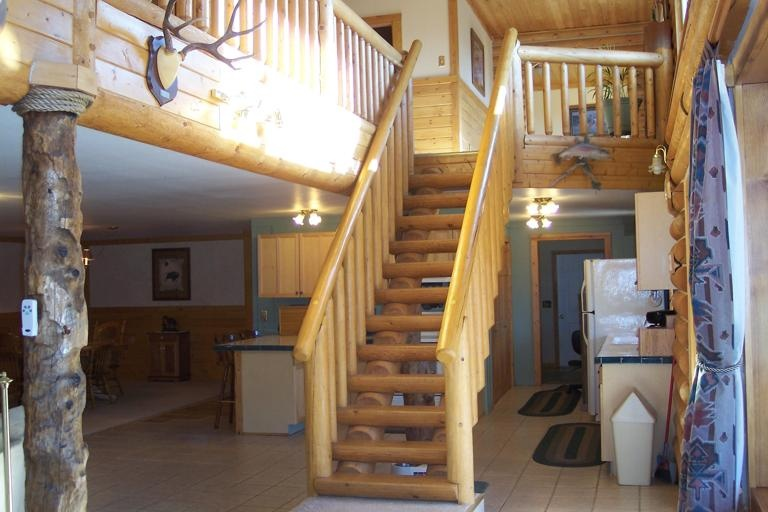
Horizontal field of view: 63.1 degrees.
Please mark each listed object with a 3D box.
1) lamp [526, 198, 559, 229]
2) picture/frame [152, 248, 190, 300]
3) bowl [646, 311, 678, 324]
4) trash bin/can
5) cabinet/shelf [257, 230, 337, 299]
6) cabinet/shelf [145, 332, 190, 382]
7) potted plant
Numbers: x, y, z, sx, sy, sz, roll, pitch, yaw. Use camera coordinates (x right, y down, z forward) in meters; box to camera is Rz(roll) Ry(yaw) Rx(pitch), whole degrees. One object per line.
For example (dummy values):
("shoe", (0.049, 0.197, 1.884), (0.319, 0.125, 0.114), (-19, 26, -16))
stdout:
("lamp", (2.115, -0.587, 8.314), (0.493, 0.449, 0.477), (0, -3, -15))
("picture/frame", (-4.283, 0.382, 12.624), (1.106, 1.277, 0.131), (0, -1, 10))
("bowl", (3.115, 0.691, 7.064), (0.210, 0.109, 0.282), (0, 1, 13))
("trash bin/can", (2.409, 1.750, 6.020), (0.381, 0.866, 0.200), (-1, 1, 21))
("cabinet/shelf", (-1.252, 0.108, 8.923), (1.098, 0.701, 0.387), (-1, -4, 16))
("cabinet/shelf", (-4.167, 1.945, 12.095), (0.991, 1.205, 0.676), (-1, -3, 12))
("potted plant", (2.886, -2.047, 7.842), (0.403, 0.805, 0.473), (-5, -2, 0))
